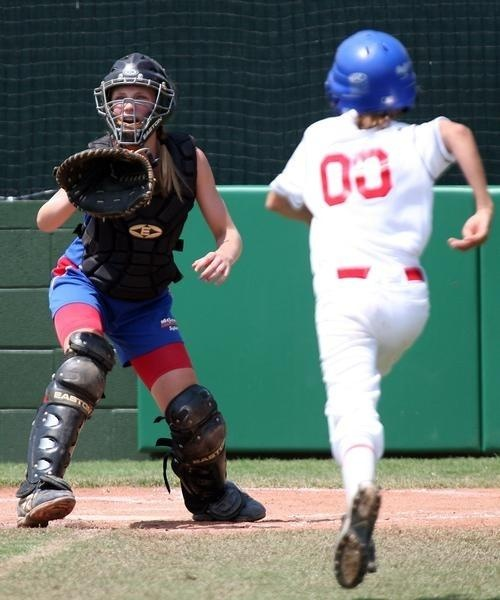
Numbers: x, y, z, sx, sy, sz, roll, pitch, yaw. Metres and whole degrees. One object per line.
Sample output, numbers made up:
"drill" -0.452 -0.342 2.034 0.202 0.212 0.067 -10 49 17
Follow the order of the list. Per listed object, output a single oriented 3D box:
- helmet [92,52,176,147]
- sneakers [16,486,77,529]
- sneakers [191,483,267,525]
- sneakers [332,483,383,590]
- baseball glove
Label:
"helmet" -0.376 -0.722 3.541 0.383 0.315 0.374 0 3 7
"sneakers" -0.686 0.690 3.223 0.113 0.100 0.261 14 -31 -41
"sneakers" -0.082 0.780 3.676 0.282 0.107 0.128 -4 5 12
"sneakers" 0.268 0.579 2.359 0.076 0.229 0.159 0 22 32
"baseball glove" -0.525 -0.416 3.330 0.364 0.204 0.178 8 -1 23
